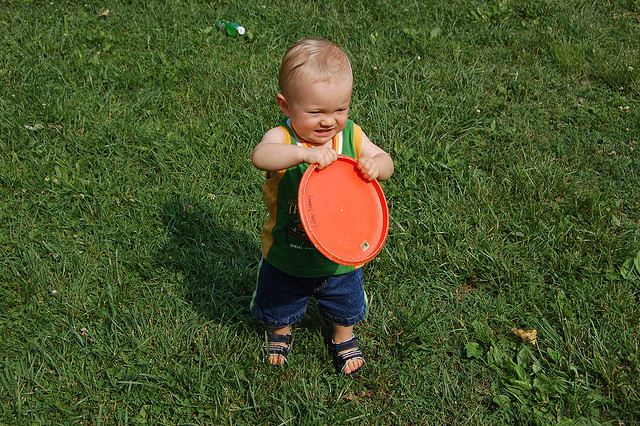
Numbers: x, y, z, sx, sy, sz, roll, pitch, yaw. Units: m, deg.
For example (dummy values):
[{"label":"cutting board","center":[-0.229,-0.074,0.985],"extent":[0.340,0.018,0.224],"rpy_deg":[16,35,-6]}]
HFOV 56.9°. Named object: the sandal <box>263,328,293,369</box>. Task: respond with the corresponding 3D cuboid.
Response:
[{"label":"sandal","center":[-0.361,1.113,4.906],"extent":[0.225,0.177,0.293],"rpy_deg":[9,49,2]}]
